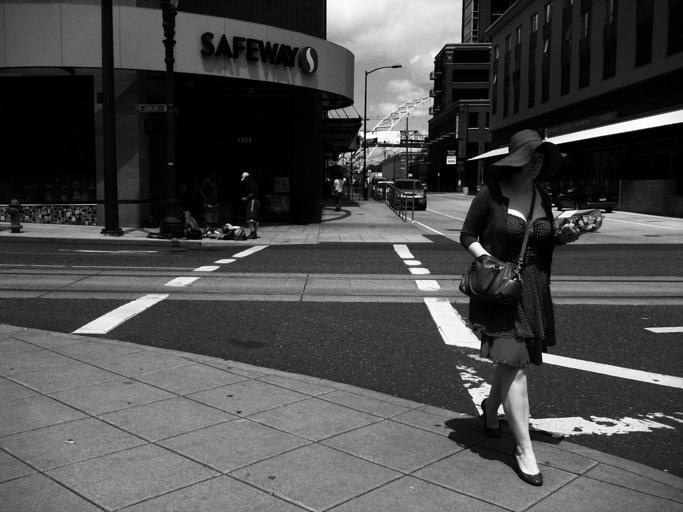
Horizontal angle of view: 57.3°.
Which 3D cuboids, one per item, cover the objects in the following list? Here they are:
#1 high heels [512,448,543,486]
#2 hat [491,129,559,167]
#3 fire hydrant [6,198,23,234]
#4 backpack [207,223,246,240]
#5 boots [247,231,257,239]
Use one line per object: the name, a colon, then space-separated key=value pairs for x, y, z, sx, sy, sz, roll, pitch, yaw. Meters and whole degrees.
high heels: x=1.330 y=1.504 z=4.476 sx=0.092 sy=0.123 sz=0.290 roll=-12 pitch=10 yaw=-3
hat: x=1.401 y=-0.796 z=4.697 sx=0.337 sy=0.199 sz=0.348 roll=4 pitch=9 yaw=39
fire hydrant: x=-10.852 y=-1.325 z=20.766 sx=0.355 sy=1.067 sz=0.783 roll=-4 pitch=11 yaw=-31
backpack: x=-3.779 y=-0.764 z=20.945 sx=0.684 sy=0.365 sz=0.947 roll=0 pitch=7 yaw=0
boots: x=-3.002 y=-0.698 z=21.092 sx=0.254 sy=0.183 sz=0.272 roll=0 pitch=-1 yaw=6
